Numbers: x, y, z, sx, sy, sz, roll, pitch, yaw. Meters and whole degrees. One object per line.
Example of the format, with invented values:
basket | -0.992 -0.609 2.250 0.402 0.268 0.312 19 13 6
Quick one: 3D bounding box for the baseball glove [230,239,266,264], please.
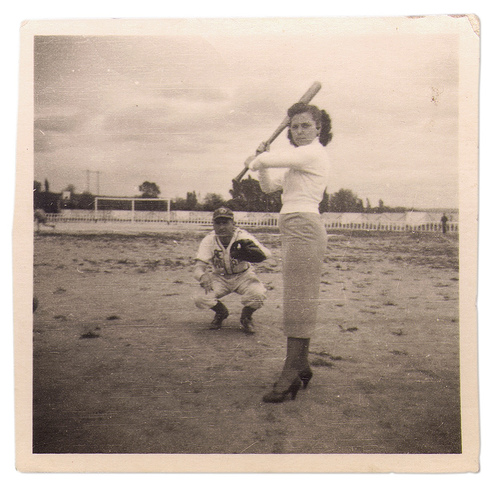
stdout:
baseball glove | -0.019 0.033 5.081 0.244 0.169 0.047 5 3 16
